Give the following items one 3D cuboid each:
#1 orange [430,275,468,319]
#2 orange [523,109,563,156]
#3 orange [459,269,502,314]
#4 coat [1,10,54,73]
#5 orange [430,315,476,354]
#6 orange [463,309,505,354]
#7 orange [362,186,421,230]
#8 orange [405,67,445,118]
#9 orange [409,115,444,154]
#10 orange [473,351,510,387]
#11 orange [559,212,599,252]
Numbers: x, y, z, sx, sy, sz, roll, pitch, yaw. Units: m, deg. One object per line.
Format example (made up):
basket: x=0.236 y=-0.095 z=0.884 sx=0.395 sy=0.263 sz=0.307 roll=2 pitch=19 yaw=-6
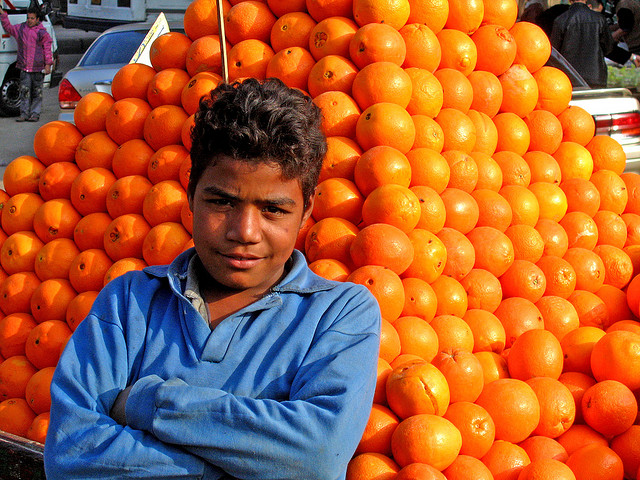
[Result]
orange: x=0.737 y=0.340 z=3.599 sx=0.189 sy=0.265 sz=0.202 roll=9 pitch=-9 yaw=-30
orange: x=1.687 y=-0.804 z=4.571 sx=0.242 sy=0.407 sz=0.286 roll=9 pitch=9 yaw=2
orange: x=0.952 y=0.290 z=3.692 sx=0.194 sy=0.331 sz=0.226 roll=1 pitch=0 yaw=-6
coat: x=-5.506 y=-3.668 z=11.395 sx=0.870 sy=1.524 sz=0.397 roll=-3 pitch=12 yaw=-29
orange: x=0.734 y=0.520 z=3.399 sx=0.162 sy=0.273 sz=0.202 roll=-3 pitch=-5 yaw=9
orange: x=0.929 y=0.542 z=3.624 sx=0.190 sy=0.302 sz=0.212 roll=-9 pitch=-19 yaw=-12
orange: x=0.392 y=-0.188 z=3.495 sx=0.272 sy=0.279 sz=0.253 roll=1 pitch=32 yaw=46
orange: x=0.669 y=-0.935 z=3.982 sx=0.235 sy=0.385 sz=0.258 roll=-5 pitch=13 yaw=-32
orange: x=0.691 y=-0.628 z=3.898 sx=0.169 sy=0.274 sz=0.192 roll=13 pitch=-8 yaw=-18
orange: x=0.969 y=0.744 z=3.446 sx=0.157 sy=0.250 sz=0.170 roll=-8 pitch=0 yaw=34
orange: x=1.790 y=-0.058 z=4.310 sx=0.198 sy=0.265 sz=0.310 roll=2 pitch=-44 yaw=9
